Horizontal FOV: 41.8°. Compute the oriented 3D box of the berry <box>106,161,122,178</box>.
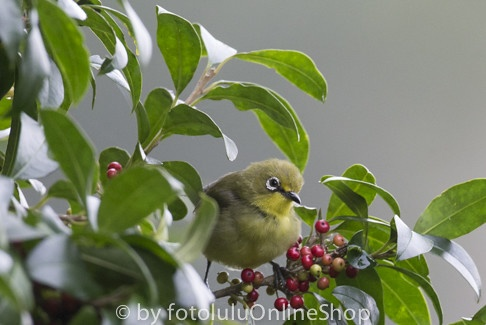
[{"bbox_3d":[-0.340,0.017,1.672,0.027,0.038,0.022,26,19,21],"label":"berry"}]
